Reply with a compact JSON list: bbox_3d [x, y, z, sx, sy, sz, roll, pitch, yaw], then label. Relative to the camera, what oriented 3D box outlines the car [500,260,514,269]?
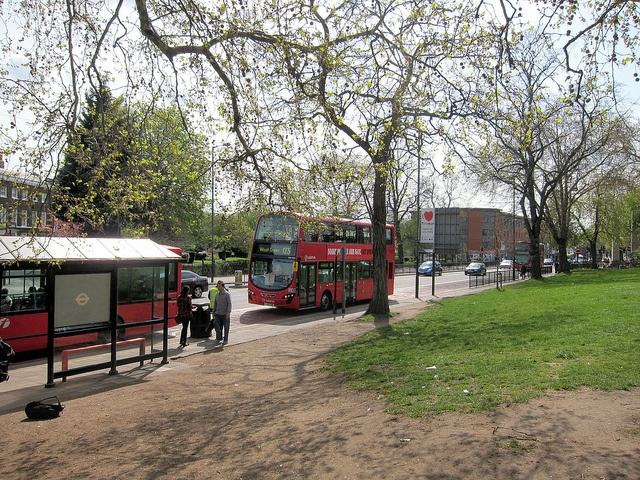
[{"bbox_3d":[22.100,2.819,65.954,0.995,0.883,2.324,-3,-8,25],"label":"car"}]

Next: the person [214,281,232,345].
[{"bbox_3d":[-3.104,2.253,17.733,0.557,2.031,1.420,-5,4,-13],"label":"person"}]

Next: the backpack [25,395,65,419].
[{"bbox_3d":[-5.517,3.404,11.324,0.371,0.318,0.675,-1,-7,2],"label":"backpack"}]

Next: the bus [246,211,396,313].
[{"bbox_3d":[0.567,1.066,27.587,2.505,4.544,9.624,0,-2,33],"label":"bus"}]

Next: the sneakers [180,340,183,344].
[{"bbox_3d":[-4.287,3.162,17.260,0.139,0.109,0.085,-2,-7,15],"label":"sneakers"}]

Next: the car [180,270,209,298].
[{"bbox_3d":[-6.863,2.474,30.884,0.977,0.899,2.428,-5,-10,34],"label":"car"}]

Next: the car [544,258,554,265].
[{"bbox_3d":[40.313,3.769,98.114,0.847,0.943,2.697,1,8,24],"label":"car"}]

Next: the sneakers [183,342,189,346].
[{"bbox_3d":[-4.175,3.271,17.451,0.159,0.069,0.053,-3,5,-12],"label":"sneakers"}]

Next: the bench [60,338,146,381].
[{"bbox_3d":[-5.385,2.886,14.060,1.976,0.549,0.256,-5,18,-33],"label":"bench"}]
